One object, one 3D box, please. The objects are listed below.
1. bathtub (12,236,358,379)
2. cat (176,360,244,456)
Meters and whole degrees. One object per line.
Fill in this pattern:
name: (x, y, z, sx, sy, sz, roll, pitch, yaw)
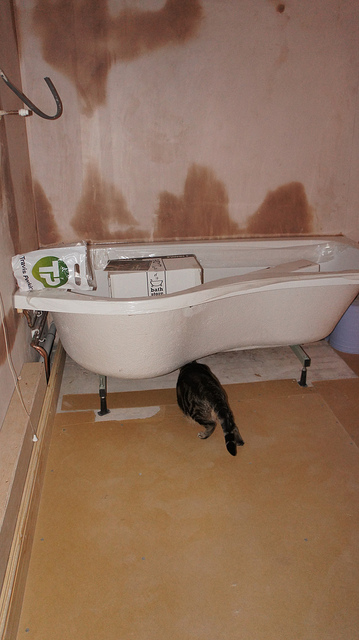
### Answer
bathtub: (0.123, -0.093, 1.969, 1.670, 0.486, 0.865, -4, 21, -21)
cat: (0.097, 0.324, 1.522, 0.120, 0.157, 0.457, -13, 28, -7)
